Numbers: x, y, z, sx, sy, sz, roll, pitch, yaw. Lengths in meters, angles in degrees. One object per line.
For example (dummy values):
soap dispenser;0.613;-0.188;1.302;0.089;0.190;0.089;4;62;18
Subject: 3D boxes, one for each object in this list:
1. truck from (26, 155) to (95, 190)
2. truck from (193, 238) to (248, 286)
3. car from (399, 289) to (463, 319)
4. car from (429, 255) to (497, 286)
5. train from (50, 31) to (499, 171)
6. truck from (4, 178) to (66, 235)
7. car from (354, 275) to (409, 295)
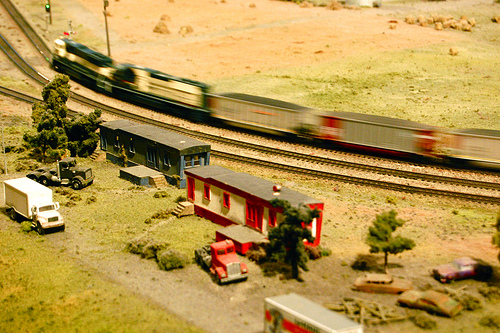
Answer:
truck;-23.526;0.572;85.106;8.431;3.461;3.400;5;18;17
truck;-3.069;9.549;72.941;3.717;3.369;7.239;-11;20;-25
car;17.865;13.489;68.270;4.754;1.442;2.859;17;26;29
car;22.393;10.657;71.591;5.913;1.762;2.774;-7;23;-13
train;4.232;-9.562;104.154;81.406;1.526;8.844;16;45;28
truck;-23.672;4.358;77.226;8.785;4.340;3.994;24;28;38
car;13.580;12.153;70.405;4.886;1.305;2.116;3;15;5
